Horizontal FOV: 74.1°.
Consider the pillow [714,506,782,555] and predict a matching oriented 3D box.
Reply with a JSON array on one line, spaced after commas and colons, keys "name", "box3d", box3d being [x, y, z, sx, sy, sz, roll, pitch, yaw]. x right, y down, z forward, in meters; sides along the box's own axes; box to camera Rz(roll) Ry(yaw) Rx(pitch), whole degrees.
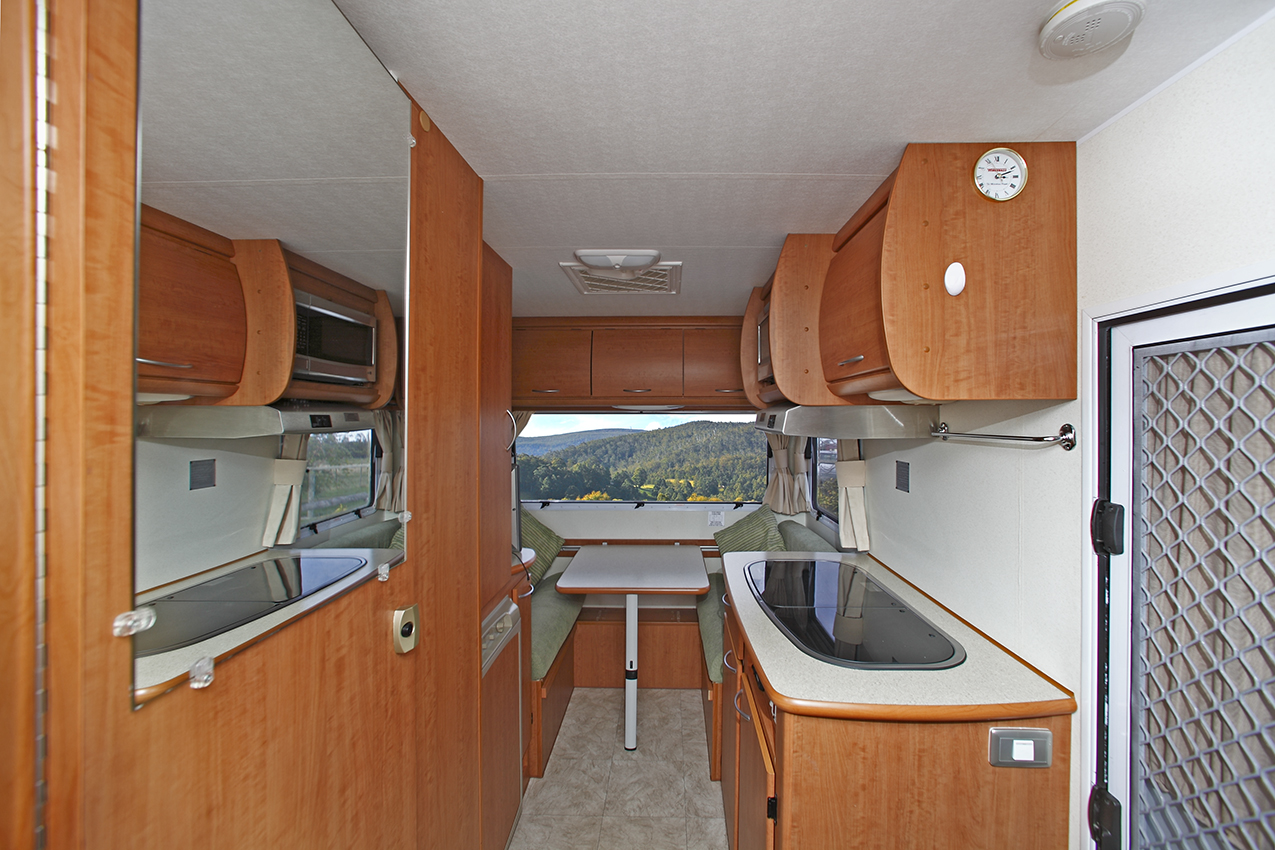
[{"name": "pillow", "box3d": [0.598, 0.596, 4.572, 0.272, 0.063, 0.265, -26, 28, 14]}]

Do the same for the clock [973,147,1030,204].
[{"name": "clock", "box3d": [1.021, -0.707, 2.376, 0.149, 0.149, 0.040, 1, 11, -5]}]

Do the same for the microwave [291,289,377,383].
[{"name": "microwave", "box3d": [-0.674, -0.186, 1.900, 0.152, 0.154, 0.246, 1, -3, 7]}]

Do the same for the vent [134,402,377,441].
[{"name": "vent", "box3d": [-0.781, -0.014, 1.720, 0.064, 0.082, 0.413, 12, 14, 40]}]

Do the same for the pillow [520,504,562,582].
[{"name": "pillow", "box3d": [-0.547, 0.651, 4.755, 0.106, 0.354, 0.391, -28, -10, 24]}]

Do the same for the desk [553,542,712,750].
[{"name": "desk", "box3d": [-0.002, 1.073, 4.180, 0.661, 0.794, 1.201, 1, -2, 2]}]
